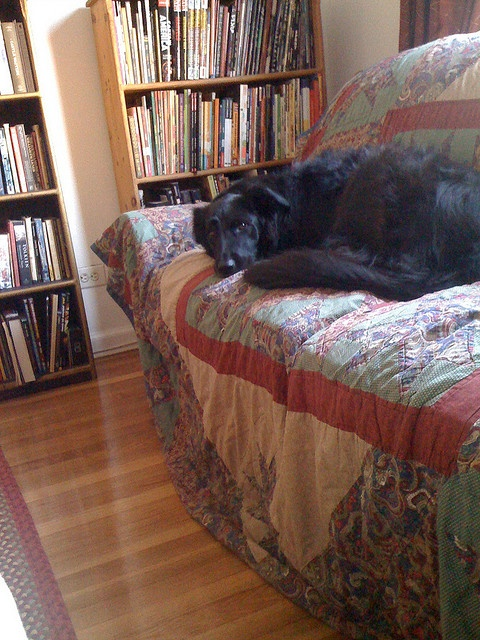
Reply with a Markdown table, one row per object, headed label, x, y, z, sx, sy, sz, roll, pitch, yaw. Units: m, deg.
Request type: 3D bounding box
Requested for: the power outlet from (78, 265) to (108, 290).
| label | x | y | z | sx | sy | sz | roll | pitch | yaw |
| --- | --- | --- | --- | --- | --- | --- | --- | --- | --- |
| power outlet | -0.766 | -0.224 | 2.684 | 0.126 | 0.132 | 0.041 | -10 | 19 | -41 |
